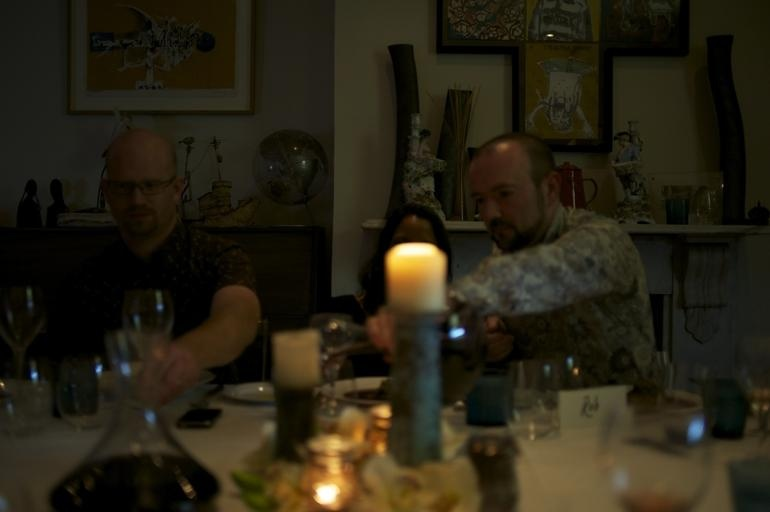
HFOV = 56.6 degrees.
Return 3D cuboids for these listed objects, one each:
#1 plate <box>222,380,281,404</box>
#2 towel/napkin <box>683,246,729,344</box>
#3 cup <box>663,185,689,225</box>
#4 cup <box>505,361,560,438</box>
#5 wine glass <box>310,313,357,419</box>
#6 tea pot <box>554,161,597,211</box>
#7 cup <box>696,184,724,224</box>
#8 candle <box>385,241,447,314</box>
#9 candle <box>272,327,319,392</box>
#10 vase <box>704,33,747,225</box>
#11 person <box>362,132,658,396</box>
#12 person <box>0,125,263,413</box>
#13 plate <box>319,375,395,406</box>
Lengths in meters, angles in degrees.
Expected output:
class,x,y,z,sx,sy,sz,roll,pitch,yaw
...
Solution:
class,x,y,z,sx,sy,sz,roll,pitch,yaw
plate,-0.388,0.399,2.072,0.158,0.019,0.160,1,4,-15
towel/napkin,1.554,0.189,3.482,0.229,0.475,0.027,1,3,-11
cup,1.424,-0.246,3.481,0.116,0.192,0.131,1,2,12
cup,0.372,0.378,1.869,0.112,0.202,0.110,4,-8,1
wine glass,-0.130,0.303,1.929,0.165,0.275,0.158,-7,-19,9
tea pot,0.942,-0.331,3.486,0.232,0.253,0.154,-5,-2,-12
cup,1.600,-0.246,3.540,0.124,0.211,0.127,3,-8,0
candle,0.051,0.033,1.211,0.103,0.116,0.104,-2,6,-18
candle,-0.153,0.184,1.259,0.092,0.096,0.091,0,-3,0
vase,1.666,-0.611,3.495,0.207,0.910,0.108,3,4,24
person,0.539,0.078,2.736,1.092,1.083,0.918,-2,-5,-27
person,-0.950,0.087,2.893,0.756,1.200,0.762,-12,-9,26
plate,-0.050,0.373,1.980,0.161,0.036,0.161,-2,4,-29
